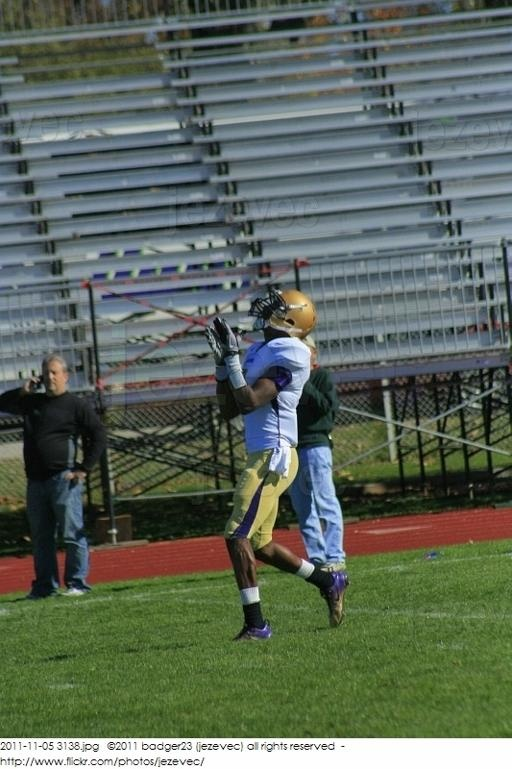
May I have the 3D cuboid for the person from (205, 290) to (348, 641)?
[{"bbox_3d":[0.056,0.336,4.905,0.491,1.566,0.649,-8,-1,26],"label":"person"}]

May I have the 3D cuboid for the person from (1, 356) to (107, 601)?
[{"bbox_3d":[-1.203,0.546,6.506,0.610,1.446,0.430,-7,0,-8],"label":"person"}]

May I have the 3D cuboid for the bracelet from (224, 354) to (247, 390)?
[{"bbox_3d":[-0.094,-0.052,4.708,0.066,0.045,0.163,-13,20,5],"label":"bracelet"}]

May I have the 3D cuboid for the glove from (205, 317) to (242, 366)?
[{"bbox_3d":[-0.141,-0.197,4.750,0.179,0.198,0.078,-28,4,-33],"label":"glove"}]

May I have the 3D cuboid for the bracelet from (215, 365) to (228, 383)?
[{"bbox_3d":[-0.168,-0.056,4.829,0.077,0.067,0.069,-1,3,-14],"label":"bracelet"}]

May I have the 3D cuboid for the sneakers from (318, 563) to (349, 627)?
[{"bbox_3d":[0.372,0.978,4.917,0.138,0.267,0.102,10,-12,-31],"label":"sneakers"}]

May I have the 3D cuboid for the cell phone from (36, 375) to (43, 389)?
[{"bbox_3d":[-1.370,-0.015,6.780,0.028,0.078,0.093,15,4,-5],"label":"cell phone"}]

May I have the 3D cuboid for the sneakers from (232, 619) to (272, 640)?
[{"bbox_3d":[-0.005,1.081,4.683,0.198,0.069,0.064,-4,-9,-8],"label":"sneakers"}]
